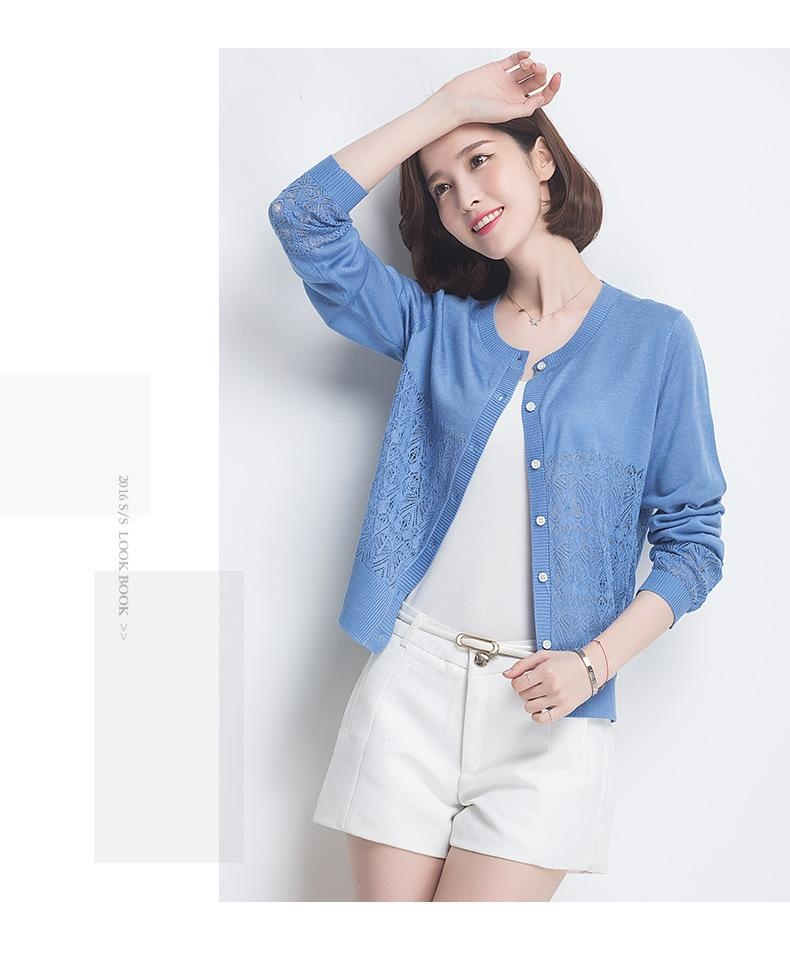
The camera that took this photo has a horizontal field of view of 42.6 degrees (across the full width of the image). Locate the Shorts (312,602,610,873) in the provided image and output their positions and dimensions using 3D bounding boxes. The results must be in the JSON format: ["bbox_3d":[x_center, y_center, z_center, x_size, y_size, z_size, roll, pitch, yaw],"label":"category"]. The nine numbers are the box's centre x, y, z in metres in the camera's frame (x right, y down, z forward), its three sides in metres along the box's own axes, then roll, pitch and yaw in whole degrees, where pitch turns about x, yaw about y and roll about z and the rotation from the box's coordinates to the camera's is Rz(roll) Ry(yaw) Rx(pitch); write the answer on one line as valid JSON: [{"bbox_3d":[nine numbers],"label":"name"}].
[{"bbox_3d":[0.172,0.464,1.753,0.496,0.379,0.263,4,-10,28],"label":"Shorts"}]

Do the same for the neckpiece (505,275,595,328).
[{"bbox_3d":[0.271,-0.298,1.821,0.149,0.091,0.016,-5,-43,28],"label":"neckpiece"}]

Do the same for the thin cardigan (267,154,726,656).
[{"bbox_3d":[0.165,-0.015,1.768,0.919,0.642,0.363,9,2,5],"label":"thin cardigan"}]

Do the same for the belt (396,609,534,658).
[{"bbox_3d":[0.112,0.266,1.680,0.131,0.029,0.091,21,3,-2],"label":"belt"}]
